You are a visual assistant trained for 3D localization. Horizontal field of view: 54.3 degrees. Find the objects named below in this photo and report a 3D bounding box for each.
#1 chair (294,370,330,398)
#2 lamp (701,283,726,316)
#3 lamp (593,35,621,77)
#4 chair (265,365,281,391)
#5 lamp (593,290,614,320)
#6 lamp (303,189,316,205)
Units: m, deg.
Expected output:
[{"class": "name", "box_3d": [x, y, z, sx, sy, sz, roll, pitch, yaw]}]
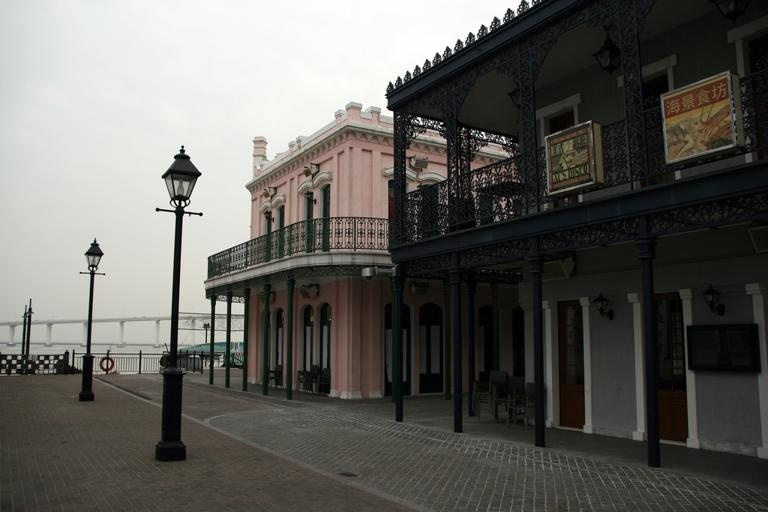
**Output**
[{"class": "chair", "box_3d": [-2.561, 4.682, 27.670, 0.582, 0.909, 2.088, 5, -12, -27]}, {"class": "lamp", "box_3d": [7.266, 0.974, 16.528, 0.442, 0.673, 0.265, -4, -10, 26]}, {"class": "lamp", "box_3d": [5.257, -4.757, 17.682, 0.549, 0.850, 1.554, -3, -11, 20]}, {"class": "chair", "box_3d": [-4.321, 4.859, 30.148, 0.573, 0.884, 1.943, 3, -11, -17]}, {"class": "lamp", "box_3d": [5.349, 1.253, 18.371, 0.539, 0.665, 0.295, -6, -11, 33]}, {"class": "lamp", "box_3d": [-2.824, -2.273, 28.831, 0.424, 0.578, 0.825, -1, -1, -10]}]
